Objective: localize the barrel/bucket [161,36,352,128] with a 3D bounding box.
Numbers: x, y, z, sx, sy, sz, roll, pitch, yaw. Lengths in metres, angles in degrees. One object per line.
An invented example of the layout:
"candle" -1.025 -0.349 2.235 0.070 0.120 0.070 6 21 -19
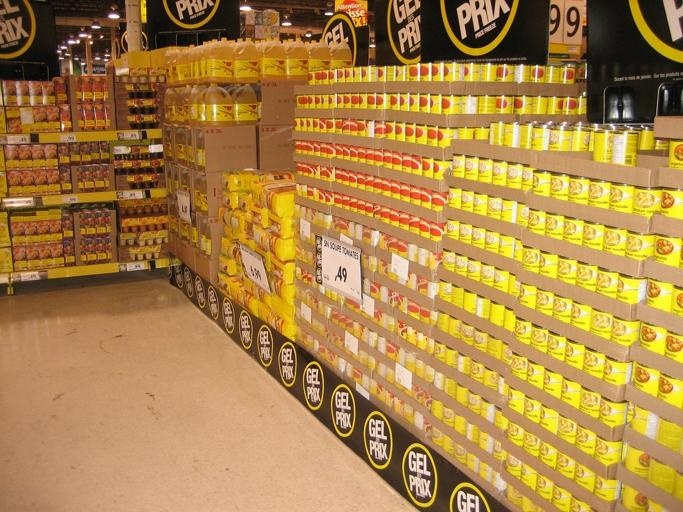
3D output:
"barrel/bucket" -0.797 -1.728 5.301 1.346 0.595 1.362 1 14 0
